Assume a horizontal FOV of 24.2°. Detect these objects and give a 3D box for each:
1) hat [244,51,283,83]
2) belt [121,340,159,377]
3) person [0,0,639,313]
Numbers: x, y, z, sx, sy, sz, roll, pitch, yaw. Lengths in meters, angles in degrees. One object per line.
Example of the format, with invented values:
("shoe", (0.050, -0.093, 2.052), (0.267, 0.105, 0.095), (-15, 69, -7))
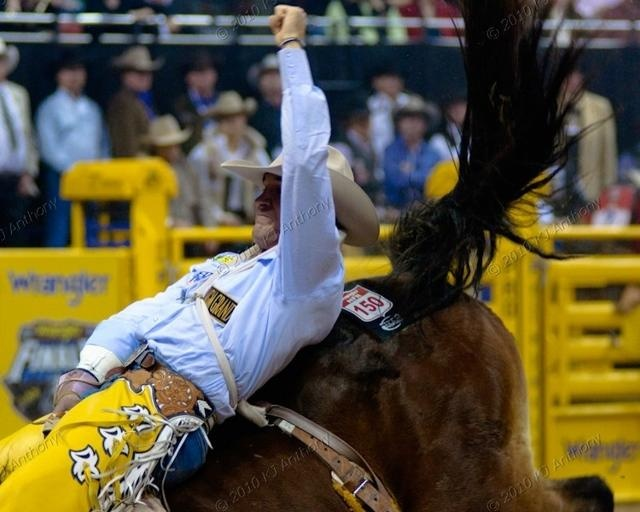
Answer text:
("hat", (-0.402, -1.322, 10.637), (0.341, 0.143, 0.381), (-3, 0, 2))
("belt", (-0.907, 0.536, 7.478), (0.162, 0.072, 0.142), (-41, 35, 5))
("person", (-0.048, -0.577, 8.609), (3.790, 1.527, 0.815), (-3, 6, 8))
